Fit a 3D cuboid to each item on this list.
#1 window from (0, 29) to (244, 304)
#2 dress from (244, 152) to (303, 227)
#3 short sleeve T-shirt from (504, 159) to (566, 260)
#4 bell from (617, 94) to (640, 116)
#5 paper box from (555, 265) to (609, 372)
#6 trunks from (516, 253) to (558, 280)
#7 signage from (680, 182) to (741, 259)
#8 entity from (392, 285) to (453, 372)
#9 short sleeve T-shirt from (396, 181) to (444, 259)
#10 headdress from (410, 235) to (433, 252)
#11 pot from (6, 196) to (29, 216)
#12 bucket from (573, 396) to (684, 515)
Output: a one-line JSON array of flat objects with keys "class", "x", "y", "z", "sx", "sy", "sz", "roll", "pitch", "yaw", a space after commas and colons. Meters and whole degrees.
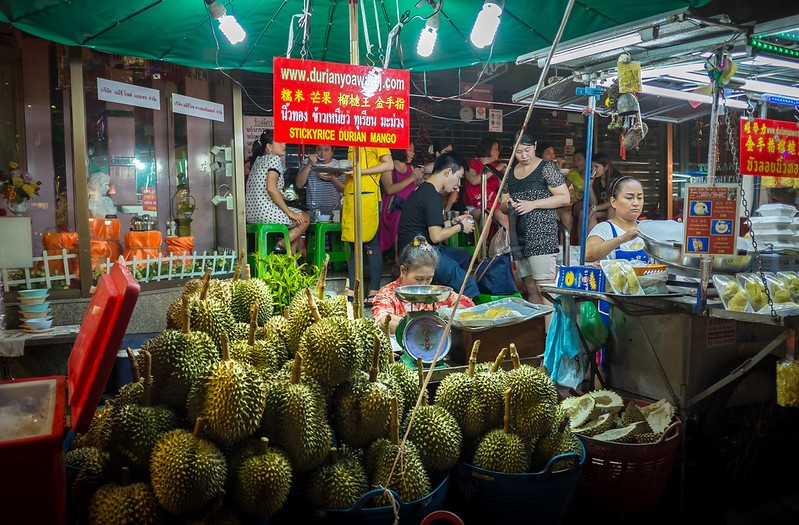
[{"class": "window", "x": -2.973, "y": -1.060, "z": 7.068, "sx": 2.002, "sy": 2.434, "sz": 1.608, "roll": -5, "pitch": 10, "yaw": -32}, {"class": "dress", "x": -1.326, "y": -0.807, "z": 7.356, "sx": 0.689, "sy": 0.806, "sz": 0.667, "roll": 3, "pitch": -6, "yaw": 21}, {"class": "short sleeve T-shirt", "x": 1.292, "y": -0.525, "z": 6.417, "sx": 0.697, "sy": 0.931, "sz": 0.347, "roll": -4, "pitch": -4, "yaw": 37}, {"class": "bell", "x": 1.634, "y": -1.135, "z": 4.658, "sx": 0.149, "sy": 0.166, "sz": 0.147, "roll": -1, "pitch": -22, "yaw": 8}, {"class": "paper box", "x": 1.308, "y": 0.375, "z": 4.440, "sx": 0.467, "sy": 0.698, "sz": 0.452, "roll": -1, "pitch": -7, "yaw": -2}, {"class": "trunks", "x": 1.378, "y": 0.121, "z": 6.418, "sx": 0.243, "sy": 0.315, "sz": 0.409, "roll": 2, "pitch": -3, "yaw": -34}, {"class": "signage", "x": 1.841, "y": -0.251, "z": 3.810, "sx": 0.450, "sy": 0.624, "sz": 0.066, "roll": 1, "pitch": -3, "yaw": 8}, {"class": "entity", "x": 0.010, "y": 0.359, "z": 3.595, "sx": 0.385, "sy": 0.474, "sz": 0.386, "roll": 1, "pitch": -4, "yaw": -16}, {"class": "short sleeve T-shirt", "x": 0.244, "y": -0.433, "z": 6.315, "sx": 0.522, "sy": 0.889, "sz": 0.934, "roll": 0, "pitch": 6, "yaw": -11}, {"class": "headdress", "x": 0.167, "y": -0.143, "z": 4.728, "sx": 0.108, "sy": 0.059, "sz": 0.138, "roll": -2, "pitch": 9, "yaw": -13}, {"class": "pot", "x": -3.333, "y": -0.487, "z": 5.631, "sx": 0.132, "sy": 0.151, "sz": 0.236, "roll": -5, "pitch": 8, "yaw": -25}, {"class": "bucket", "x": 1.179, "y": 1.038, "z": 3.379, "sx": 0.464, "sy": 0.417, "sz": 0.436, "roll": -1, "pitch": 1, "yaw": 0}]
